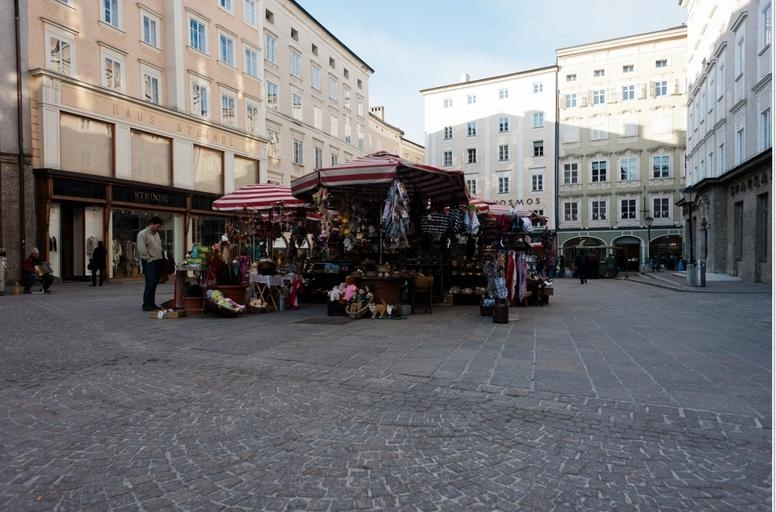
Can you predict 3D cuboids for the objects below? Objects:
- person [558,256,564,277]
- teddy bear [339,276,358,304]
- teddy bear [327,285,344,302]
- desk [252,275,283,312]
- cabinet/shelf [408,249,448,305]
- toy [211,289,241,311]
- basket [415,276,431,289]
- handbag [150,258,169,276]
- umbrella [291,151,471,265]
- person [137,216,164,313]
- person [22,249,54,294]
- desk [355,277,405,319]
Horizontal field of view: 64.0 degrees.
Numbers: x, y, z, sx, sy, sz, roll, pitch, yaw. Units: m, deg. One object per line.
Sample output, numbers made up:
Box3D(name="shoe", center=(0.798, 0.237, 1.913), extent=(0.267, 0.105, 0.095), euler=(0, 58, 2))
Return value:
Box3D(name="person", center=(10.995, 0.649, 39.684), extent=(0.330, 1.319, 1.803), euler=(-2, 0, 13))
Box3D(name="teddy bear", center=(-1.023, 0.879, 16.583), extent=(0.485, 0.737, 0.412), euler=(-2, 0, 13))
Box3D(name="teddy bear", center=(-1.426, 1.012, 16.612), extent=(0.312, 0.202, 0.420), euler=(-23, -9, -21))
Box3D(name="desk", center=(-3.444, 0.961, 17.905), extent=(0.814, 0.996, 0.767), euler=(3, 5, 24))
Box3D(name="cabinet/shelf", center=(1.210, 0.668, 18.707), extent=(1.508, 1.987, 1.084), euler=(1, 9, 3))
Box3D(name="toy", center=(-4.313, 1.193, 16.567), extent=(0.602, 0.209, 0.625), euler=(23, 0, -1))
Box3D(name="basket", center=(0.979, 0.709, 17.578), extent=(0.469, 0.406, 0.262), euler=(-2, 0, 5))
Box3D(name="handbag", center=(-6.328, 0.257, 17.347), extent=(0.507, 0.697, 0.409), euler=(-2, 16, -30))
Box3D(name="umbrella", center=(0.040, -1.362, 17.646), extent=(4.609, 3.140, 3.778), euler=(-2, 0, -45))
Box3D(name="person", center=(-6.558, 0.198, 17.224), extent=(0.686, 2.635, 1.547), euler=(-2, 0, -21))
Box3D(name="person", center=(-12.193, 0.485, 21.696), extent=(0.868, 1.633, 1.116), euler=(-2, 0, -31))
Box3D(name="desk", center=(-0.162, 0.977, 16.639), extent=(1.174, 0.981, 0.858), euler=(-1, 28, 1))
